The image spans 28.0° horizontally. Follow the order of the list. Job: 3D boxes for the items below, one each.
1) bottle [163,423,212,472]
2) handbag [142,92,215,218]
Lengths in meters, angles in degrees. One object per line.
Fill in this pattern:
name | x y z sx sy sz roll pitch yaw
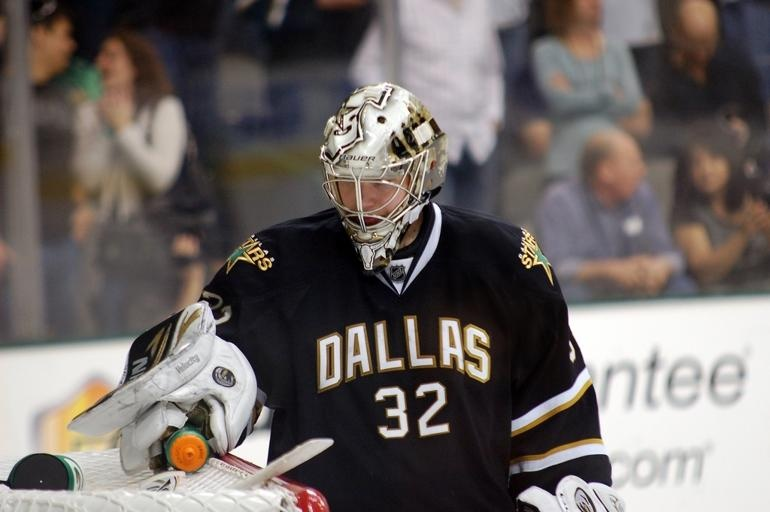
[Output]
bottle | -0.826 0.802 6.486 0.172 0.178 0.194 -6 13 -7
handbag | -1.079 -0.506 7.982 0.332 0.642 0.213 -13 -3 35
